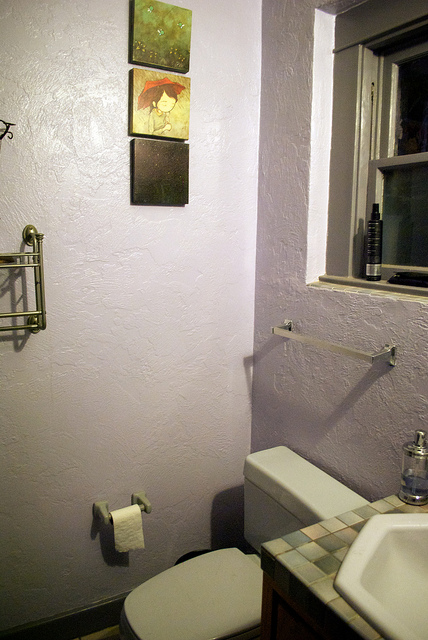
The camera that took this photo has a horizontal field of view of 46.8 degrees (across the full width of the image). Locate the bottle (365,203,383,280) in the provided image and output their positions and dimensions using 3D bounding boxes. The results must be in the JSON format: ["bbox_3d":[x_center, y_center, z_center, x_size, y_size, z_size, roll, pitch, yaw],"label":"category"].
[{"bbox_3d":[0.414,-0.201,1.271,0.035,0.189,0.075,12,17,39],"label":"bottle"}]

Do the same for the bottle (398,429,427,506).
[{"bbox_3d":[0.414,0.291,1.016,0.056,0.161,0.117,7,14,23],"label":"bottle"}]

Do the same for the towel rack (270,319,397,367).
[{"bbox_3d":[0.291,0.057,1.299,0.073,0.070,0.396,-6,13,-32],"label":"towel rack"}]
